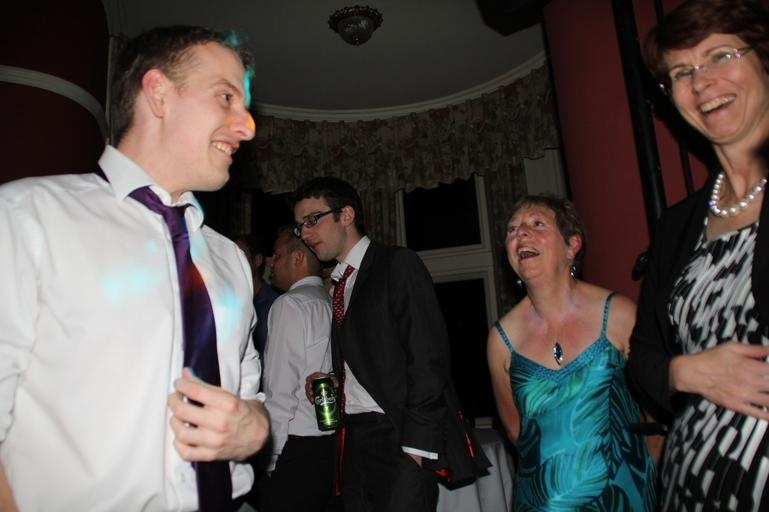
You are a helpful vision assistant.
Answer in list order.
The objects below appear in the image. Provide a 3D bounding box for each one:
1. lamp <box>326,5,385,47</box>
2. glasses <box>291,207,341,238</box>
[{"bbox_3d":[-0.261,-1.962,4.915,0.464,0.261,0.255,-7,-6,24],"label":"lamp"},{"bbox_3d":[-0.431,-0.209,3.464,0.196,0.056,0.193,-15,-10,-43],"label":"glasses"}]
